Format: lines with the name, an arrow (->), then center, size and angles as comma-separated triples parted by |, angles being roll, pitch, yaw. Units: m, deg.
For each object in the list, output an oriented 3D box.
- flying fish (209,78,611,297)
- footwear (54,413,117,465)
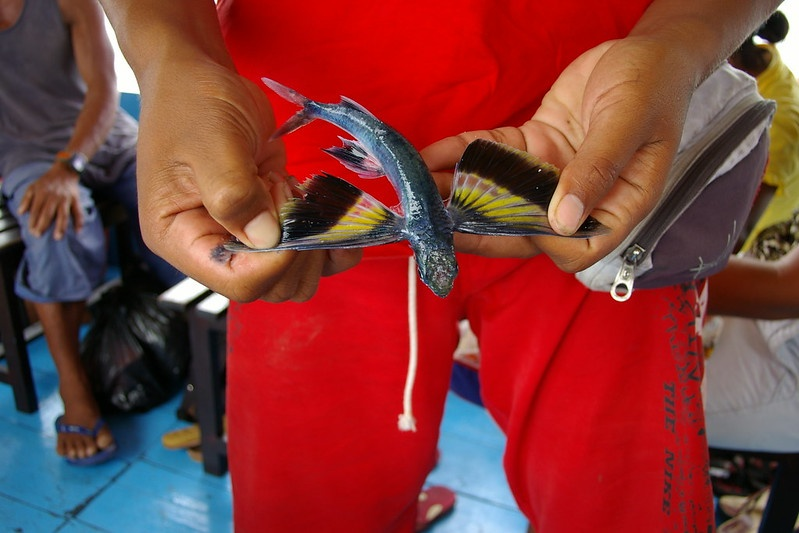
flying fish -> 0.032, -0.151, 1.498 | 0.814, 0.315, 0.314 | 11, 37, -3
footwear -> -1.366, 0.755, 2.858 | 0.211, 0.184, 0.190 | -7, 31, 0
